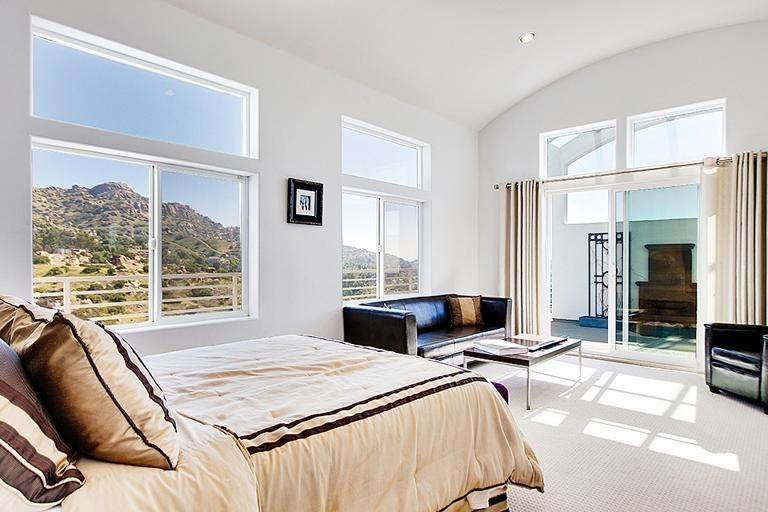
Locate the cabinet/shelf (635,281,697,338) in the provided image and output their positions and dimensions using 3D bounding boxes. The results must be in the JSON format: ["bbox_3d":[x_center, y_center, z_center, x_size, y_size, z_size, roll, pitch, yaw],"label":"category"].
[{"bbox_3d":[3.704,0.601,6.083,0.851,0.837,0.611,0,0,40],"label":"cabinet/shelf"}]

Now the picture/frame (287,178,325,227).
[{"bbox_3d":[-0.894,-0.600,5.022,0.063,0.581,0.586,-2,-3,41],"label":"picture/frame"}]

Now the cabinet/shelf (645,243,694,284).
[{"bbox_3d":[3.718,0.096,5.830,0.128,0.594,0.514,-4,5,-43],"label":"cabinet/shelf"}]
